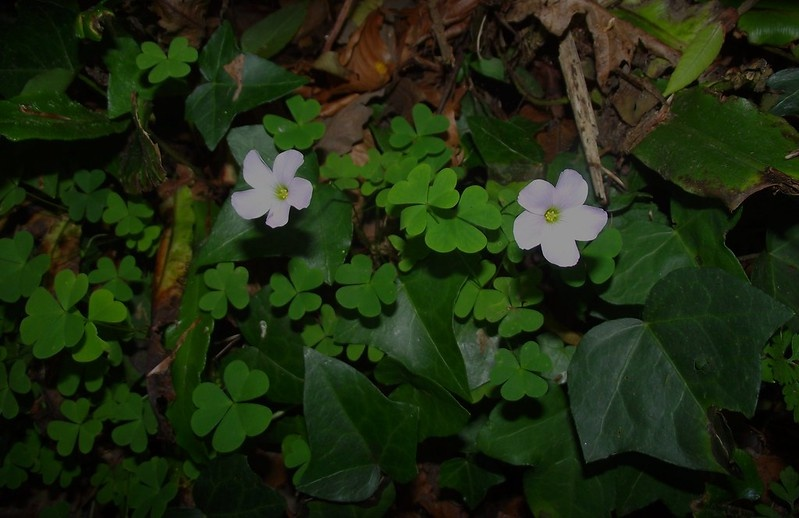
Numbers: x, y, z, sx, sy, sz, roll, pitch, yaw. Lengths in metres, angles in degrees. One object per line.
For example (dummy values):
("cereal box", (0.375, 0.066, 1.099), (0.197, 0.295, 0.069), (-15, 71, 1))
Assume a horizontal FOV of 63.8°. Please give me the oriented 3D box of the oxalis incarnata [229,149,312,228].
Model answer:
("oxalis incarnata", (-0.471, -0.257, 2.512), (0.289, 0.278, 0.101), (29, 40, -8))
